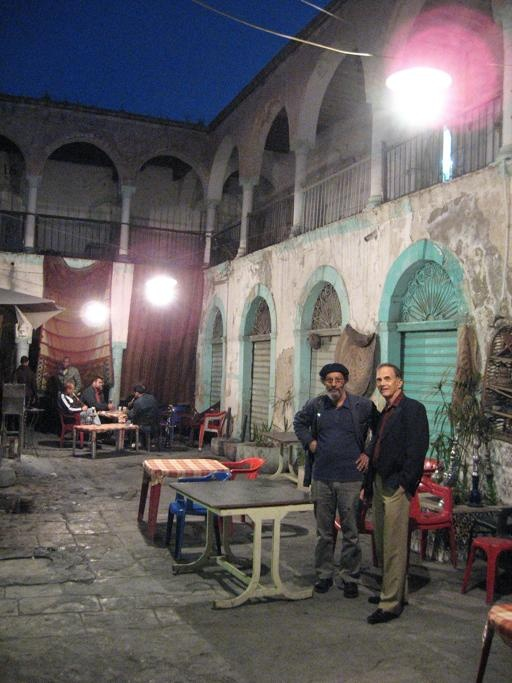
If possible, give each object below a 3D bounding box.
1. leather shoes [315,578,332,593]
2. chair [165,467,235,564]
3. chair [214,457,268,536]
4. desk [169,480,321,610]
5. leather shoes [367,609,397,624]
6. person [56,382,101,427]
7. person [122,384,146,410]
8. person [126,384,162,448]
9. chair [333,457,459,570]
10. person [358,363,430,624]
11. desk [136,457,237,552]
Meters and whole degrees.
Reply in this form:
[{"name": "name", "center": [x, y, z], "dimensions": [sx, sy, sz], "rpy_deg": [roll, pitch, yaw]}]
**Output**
[{"name": "leather shoes", "center": [0.488, 1.765, 3.867], "dimensions": [0.151, 0.087, 0.055], "rpy_deg": [6, -9, -26]}, {"name": "chair", "center": [-0.576, 1.625, 5.110], "dimensions": [0.642, 0.902, 0.681], "rpy_deg": [6, -10, -20]}, {"name": "chair", "center": [-0.072, 1.698, 6.157], "dimensions": [0.667, 0.915, 0.763], "rpy_deg": [5, -5, -14]}, {"name": "desk", "center": [-0.058, 1.386, 3.972], "dimensions": [0.777, 0.715, 1.233], "rpy_deg": [1, -2, -21]}, {"name": "leather shoes", "center": [0.781, 1.704, 3.356], "dimensions": [0.208, 0.087, 0.071], "rpy_deg": [9, -11, -27]}, {"name": "person", "center": [-3.815, 1.406, 11.747], "dimensions": [0.865, 1.043, 0.702], "rpy_deg": [-5, -7, -9]}, {"name": "person", "center": [-3.009, 1.383, 13.205], "dimensions": [0.258, 0.299, 0.851], "rpy_deg": [10, 16, 11]}, {"name": "person", "center": [-2.493, 1.666, 11.735], "dimensions": [0.619, 1.401, 0.625], "rpy_deg": [0, 10, -29]}, {"name": "chair", "center": [1.173, 1.473, 4.946], "dimensions": [0.939, 1.356, 1.053], "rpy_deg": [-1, -18, 13]}, {"name": "person", "center": [0.921, 0.962, 3.551], "dimensions": [0.406, 1.607, 0.489], "rpy_deg": [0, -8, 11]}, {"name": "desk", "center": [-0.821, 1.580, 5.641], "dimensions": [0.830, 0.697, 0.852], "rpy_deg": [2, -1, -24]}]
